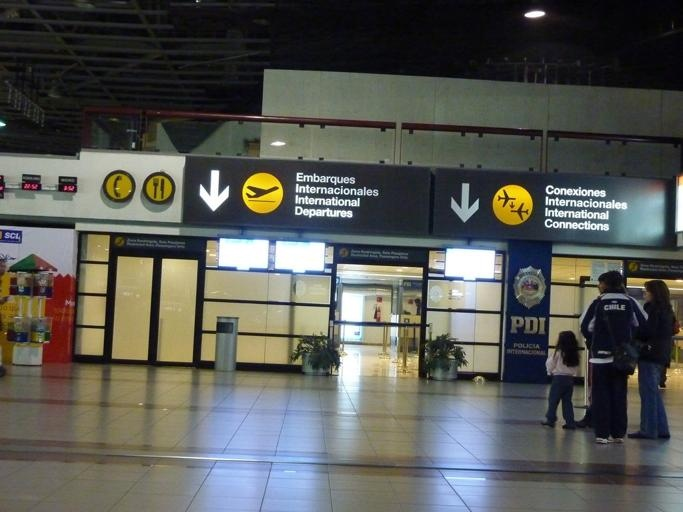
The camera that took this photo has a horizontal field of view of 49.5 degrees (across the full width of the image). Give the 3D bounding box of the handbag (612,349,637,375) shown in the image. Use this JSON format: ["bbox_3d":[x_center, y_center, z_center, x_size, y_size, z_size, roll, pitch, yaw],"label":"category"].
[{"bbox_3d":[4.284,1.597,11.203,0.347,0.388,0.218,0,-6,12],"label":"handbag"}]

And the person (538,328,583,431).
[{"bbox_3d":[3.701,2.074,12.544,0.561,1.607,0.571,0,-6,16],"label":"person"}]

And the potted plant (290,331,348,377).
[{"bbox_3d":[-0.561,2.348,17.713,1.005,0.736,0.992,2,-9,-6],"label":"potted plant"}]

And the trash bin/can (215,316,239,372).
[{"bbox_3d":[-2.760,2.106,17.737,0.499,1.288,0.515,3,-6,-10],"label":"trash bin/can"}]

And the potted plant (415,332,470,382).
[{"bbox_3d":[2.523,2.480,18.291,1.077,0.975,1.092,-2,-2,25],"label":"potted plant"}]

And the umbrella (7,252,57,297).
[{"bbox_3d":[-7.133,0.462,17.209,1.064,0.854,1.062,0,-4,1],"label":"umbrella"}]

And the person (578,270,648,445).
[{"bbox_3d":[4.168,1.532,11.442,0.943,2.625,0.572,0,-6,18],"label":"person"}]

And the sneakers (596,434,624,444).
[{"bbox_3d":[4.056,2.789,11.282,0.502,0.095,0.264,5,-6,-39],"label":"sneakers"}]
